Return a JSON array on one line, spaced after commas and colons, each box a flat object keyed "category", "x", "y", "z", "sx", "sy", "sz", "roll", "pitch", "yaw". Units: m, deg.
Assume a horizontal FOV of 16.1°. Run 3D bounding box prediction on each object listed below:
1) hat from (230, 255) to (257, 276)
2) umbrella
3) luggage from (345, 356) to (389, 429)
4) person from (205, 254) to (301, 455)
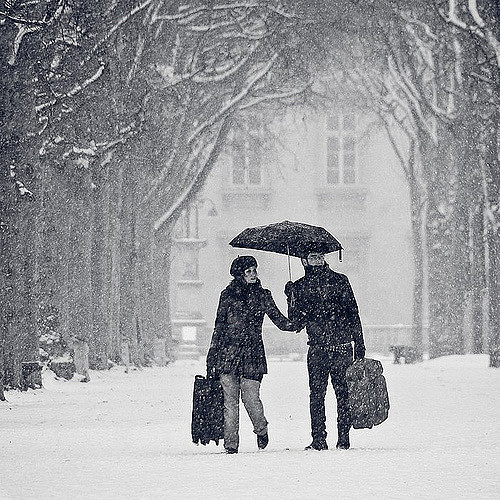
[{"category": "hat", "x": -0.084, "y": 0.178, "z": 22.959, "sx": 0.277, "sy": 0.272, "sz": 0.231, "roll": 4, "pitch": -6, "yaw": 8}, {"category": "umbrella", "x": 0.526, "y": 0.123, "z": 24.009, "sx": 1.611, "sy": 1.262, "sz": 1.860, "roll": -2, "pitch": 3, "yaw": 5}, {"category": "luggage", "x": 1.578, "y": 1.905, "z": 23.113, "sx": 0.469, "sy": 0.940, "sz": 0.336, "roll": -6, "pitch": -25, "yaw": 1}, {"category": "person", "x": -0.055, "y": 1.345, "z": 22.963, "sx": 1.004, "sy": 2.576, "sz": 0.750, "roll": -1, "pitch": -7, "yaw": -2}]
